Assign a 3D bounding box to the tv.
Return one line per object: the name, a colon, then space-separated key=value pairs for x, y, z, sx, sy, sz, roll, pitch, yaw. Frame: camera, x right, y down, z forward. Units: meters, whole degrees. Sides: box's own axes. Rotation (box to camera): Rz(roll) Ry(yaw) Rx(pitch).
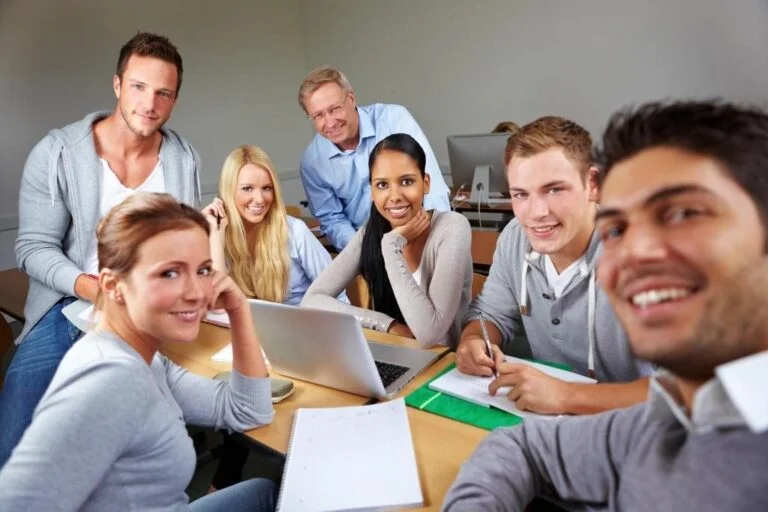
tv: x=0.586 y=-0.515 z=3.059 sx=0.517 sy=0.350 sz=0.244 roll=7 pitch=16 yaw=40
